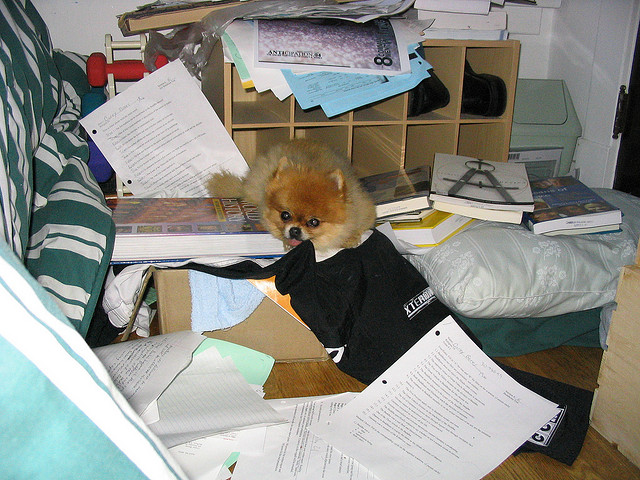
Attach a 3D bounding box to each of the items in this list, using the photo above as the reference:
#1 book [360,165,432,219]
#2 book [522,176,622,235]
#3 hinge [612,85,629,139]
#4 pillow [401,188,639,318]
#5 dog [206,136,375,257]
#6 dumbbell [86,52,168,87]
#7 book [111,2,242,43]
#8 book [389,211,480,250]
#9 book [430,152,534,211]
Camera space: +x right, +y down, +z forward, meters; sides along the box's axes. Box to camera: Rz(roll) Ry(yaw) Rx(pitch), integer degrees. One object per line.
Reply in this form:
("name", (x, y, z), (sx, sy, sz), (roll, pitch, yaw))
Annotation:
("book", (0.253, -0.160, 1.603), (0.205, 0.043, 0.211), (-12, 22, 14))
("book", (0.769, -0.106, 1.572), (0.219, 0.047, 0.227), (-8, 28, -3))
("hinge", (1.222, -0.519, 1.993), (0.040, 0.209, 0.042), (8, 27, 33))
("pillow", (0.597, 0.074, 1.385), (0.370, 0.102, 0.385), (-14, 29, -9))
("dog", (-0.048, -0.120, 1.568), (0.431, 0.274, 0.361), (10, 62, 0))
("dumbbell", (-0.710, -0.598, 1.701), (0.239, 0.091, 0.104), (-6, 24, -17))
("book", (-0.565, -0.792, 1.769), (0.323, 0.108, 0.659), (-20, 26, -27))
("book", (0.353, -0.029, 1.508), (0.271, 0.063, 0.160), (-6, 23, 5))
("book", (0.507, -0.182, 1.572), (0.236, 0.060, 0.240), (7, 38, 10))
